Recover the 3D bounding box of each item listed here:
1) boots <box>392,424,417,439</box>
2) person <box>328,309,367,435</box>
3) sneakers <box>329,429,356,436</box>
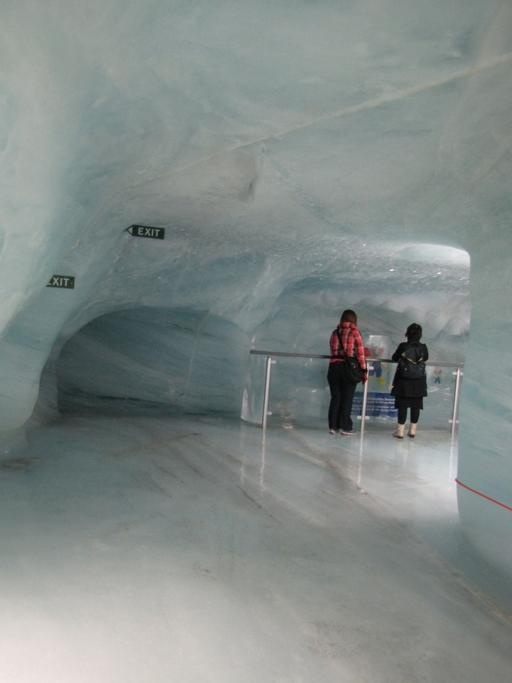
[{"bbox_3d":[1.917,1.184,6.927,0.273,0.154,0.220,1,7,-4],"label":"boots"},{"bbox_3d":[1.161,0.407,6.785,0.493,1.583,0.526,5,0,6],"label":"person"},{"bbox_3d":[1.117,1.171,6.882,0.297,0.102,0.102,1,3,-2],"label":"sneakers"}]
